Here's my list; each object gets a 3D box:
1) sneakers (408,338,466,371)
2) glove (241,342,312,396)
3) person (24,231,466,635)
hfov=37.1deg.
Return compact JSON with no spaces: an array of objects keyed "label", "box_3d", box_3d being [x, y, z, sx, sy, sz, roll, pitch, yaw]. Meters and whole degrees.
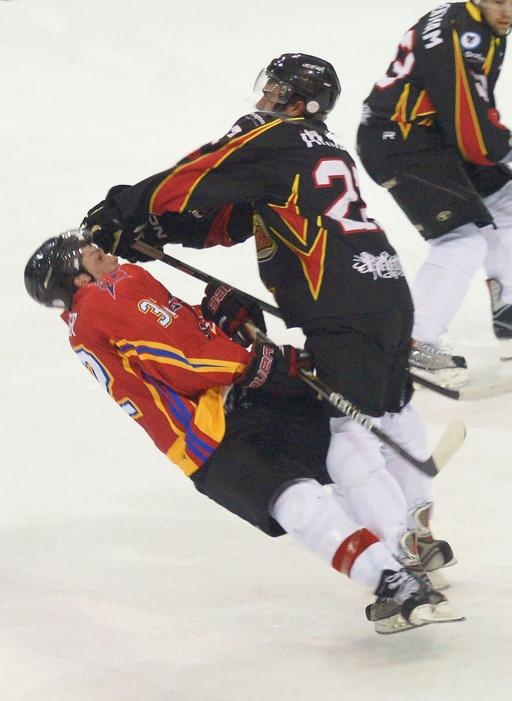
[{"label":"sneakers","box_3d":[0.711,0.024,3.009,0.297,0.098,0.088,0,26,-2]},{"label":"glove","box_3d":[0.057,0.061,2.272,0.123,0.177,0.200,1,8,32]},{"label":"person","box_3d":[-0.078,0.237,2.378,1.314,1.263,0.384,-1,9,21]}]
